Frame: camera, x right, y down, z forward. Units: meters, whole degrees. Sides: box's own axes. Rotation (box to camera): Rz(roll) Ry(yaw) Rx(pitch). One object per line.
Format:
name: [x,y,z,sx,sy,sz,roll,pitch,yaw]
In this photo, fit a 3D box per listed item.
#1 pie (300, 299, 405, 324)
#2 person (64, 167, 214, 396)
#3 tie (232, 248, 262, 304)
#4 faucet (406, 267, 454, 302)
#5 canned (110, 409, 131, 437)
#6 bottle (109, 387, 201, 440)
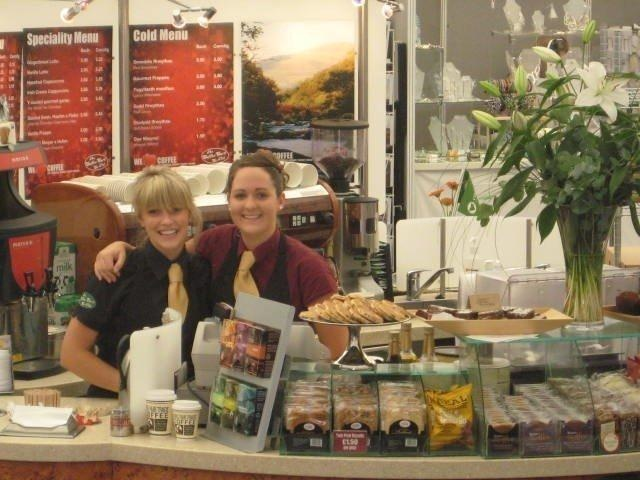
pie: [0.121,0.252,2.437,0.379,0.065,0.178,-2,2,25]
person: [-0.752,0.148,2.804,0.605,0.785,0.217,-4,2,-23]
tie: [-0.313,0.146,2.895,0.107,0.149,0.076,-3,2,18]
faucet: [0.678,0.280,4.309,0.230,0.207,0.462,-3,2,-6]
canned: [-0.702,0.639,2.403,0.081,0.089,0.039,-3,2,8]
bottle: [-0.561,0.613,2.412,0.289,0.139,0.139,-4,2,-4]
